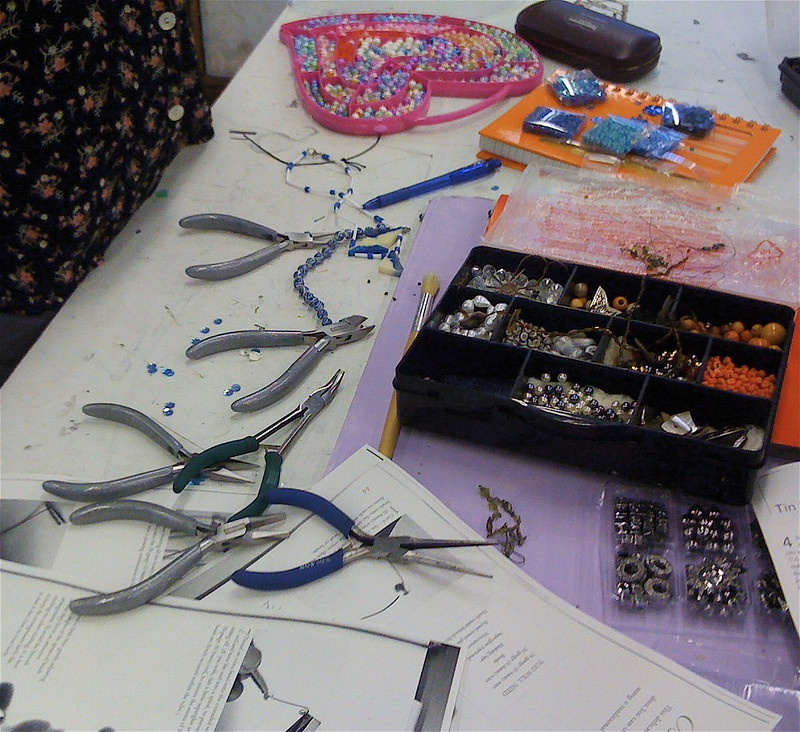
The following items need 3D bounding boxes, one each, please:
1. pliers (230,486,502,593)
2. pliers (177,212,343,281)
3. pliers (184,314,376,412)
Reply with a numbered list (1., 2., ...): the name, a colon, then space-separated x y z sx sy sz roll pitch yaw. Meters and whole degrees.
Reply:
1. pliers: -0.036 0.218 0.981 0.343 0.033 0.114 10 75 -23
2. pliers: -0.235 -0.210 1.330 0.268 0.031 0.108 -3 52 -9
3. pliers: -0.167 -0.003 1.184 0.240 0.023 0.124 -19 55 -16
